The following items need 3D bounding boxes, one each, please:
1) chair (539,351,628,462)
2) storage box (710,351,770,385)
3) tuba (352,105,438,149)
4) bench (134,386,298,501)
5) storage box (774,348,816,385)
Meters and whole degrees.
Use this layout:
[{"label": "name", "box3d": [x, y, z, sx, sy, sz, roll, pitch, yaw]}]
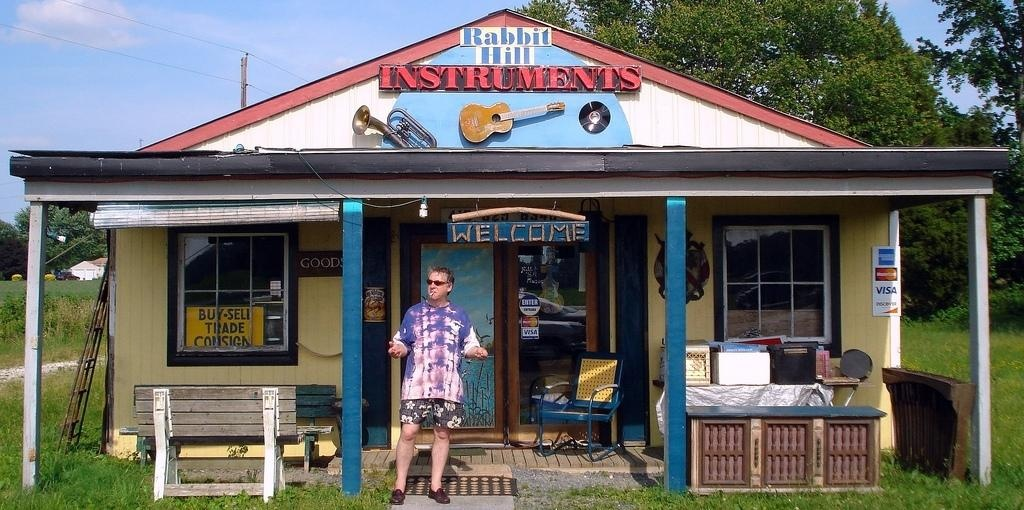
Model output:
[{"label": "chair", "box3d": [1.628, 3.617, 24.992, 1.971, 2.532, 1.033, 0, -7, 3]}, {"label": "storage box", "box3d": [5.461, 2.686, 24.947, 0.948, 0.542, 0.929, 0, -2, 2]}, {"label": "tuba", "box3d": [-2.835, -3.094, 25.275, 1.999, 0.920, 0.370, 1, -7, -13]}, {"label": "bench", "box3d": [-6.563, 4.187, 23.943, 3.668, 2.310, 1.761, -2, -11, 1]}, {"label": "storage box", "box3d": [6.762, 2.661, 25.088, 0.935, 0.756, 0.900, 0, -4, 6]}]
